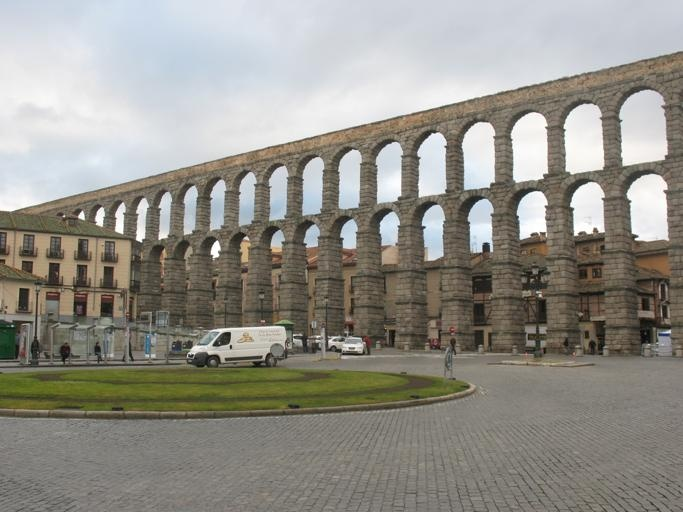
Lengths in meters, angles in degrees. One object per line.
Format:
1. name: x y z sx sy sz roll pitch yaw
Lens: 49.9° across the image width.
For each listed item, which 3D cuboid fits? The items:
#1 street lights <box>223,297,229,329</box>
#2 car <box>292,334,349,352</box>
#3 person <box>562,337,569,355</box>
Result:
1. street lights: -10.886 5.216 69.464 0.315 2.604 0.843 0 -10 -9
2. car: -1.597 6.837 58.068 3.098 0.930 1.852 -2 -6 -8
3. person: 15.437 6.087 50.439 0.387 1.161 0.965 -5 -11 18
